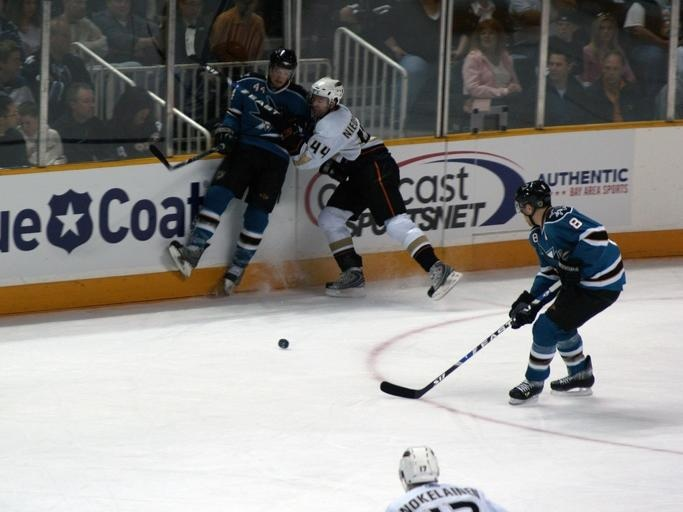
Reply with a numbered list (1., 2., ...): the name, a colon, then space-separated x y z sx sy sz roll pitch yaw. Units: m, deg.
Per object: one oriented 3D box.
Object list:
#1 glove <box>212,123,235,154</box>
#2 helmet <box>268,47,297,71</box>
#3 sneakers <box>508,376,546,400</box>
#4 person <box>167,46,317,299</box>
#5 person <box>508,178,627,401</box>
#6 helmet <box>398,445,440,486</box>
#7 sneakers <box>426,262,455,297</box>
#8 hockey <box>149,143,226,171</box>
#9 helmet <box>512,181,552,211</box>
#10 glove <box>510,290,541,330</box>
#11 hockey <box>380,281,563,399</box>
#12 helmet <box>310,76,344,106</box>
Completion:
1. glove: -0.794 -0.796 5.970 0.160 0.181 0.159 -4 -3 -5
2. helmet: -0.385 -1.306 5.923 0.156 0.173 0.179 6 -26 -16
3. sneakers: 0.956 0.681 4.536 0.217 0.089 0.076 -8 8 -40
4. person: -0.689 -0.564 6.112 0.986 1.676 0.478 -3 10 -9
5. person: 1.159 0.177 4.516 0.610 1.116 0.349 -1 10 3
6. helmet: 0.261 0.712 2.960 0.128 0.128 0.143 -3 -22 -4
7. sneakers: 0.684 0.167 6.045 0.164 0.223 0.075 37 30 -8
8. hockey: -1.056 -0.673 5.972 0.487 0.179 0.216 -3 9 -13
9. helmet: 0.985 -0.308 4.538 0.178 0.144 0.133 -23 11 14
10. glove: 0.922 0.289 4.523 0.087 0.187 0.150 21 20 -36
11. hockey: 0.756 0.512 5.117 0.880 0.128 0.125 -34 28 4
12. helmet: -0.143 -1.116 5.917 0.227 0.200 0.163 -14 38 -33
